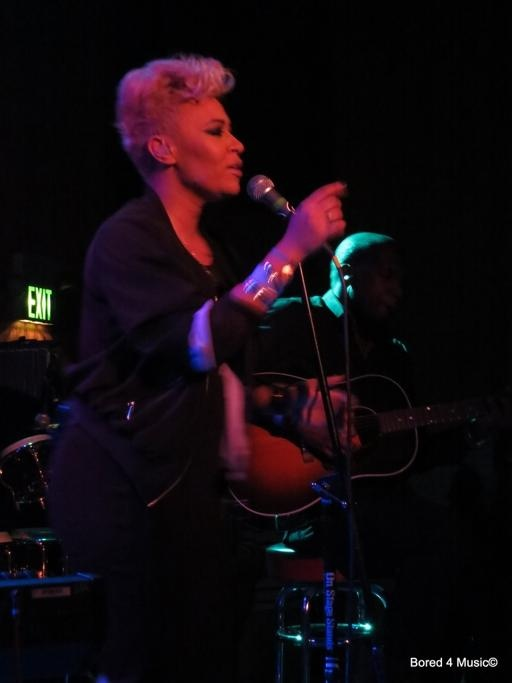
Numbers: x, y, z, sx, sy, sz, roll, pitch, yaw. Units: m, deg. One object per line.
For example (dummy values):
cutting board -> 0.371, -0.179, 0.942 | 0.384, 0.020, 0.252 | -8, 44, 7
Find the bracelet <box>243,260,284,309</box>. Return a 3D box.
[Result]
bracelet -> 0.018, -0.110, 1.598 | 0.023, 0.055, 0.097 | -44, 3, 38

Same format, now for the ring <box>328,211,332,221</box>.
ring -> 0.149, -0.250, 1.644 | 0.008, 0.013, 0.003 | -3, -4, -12
